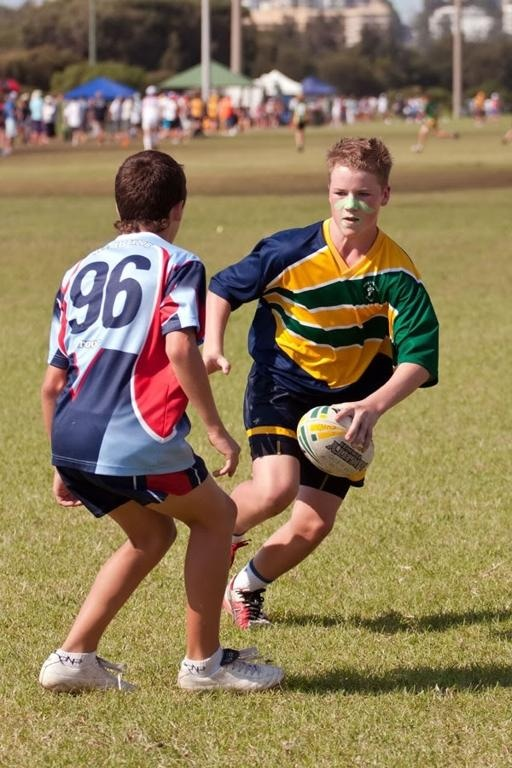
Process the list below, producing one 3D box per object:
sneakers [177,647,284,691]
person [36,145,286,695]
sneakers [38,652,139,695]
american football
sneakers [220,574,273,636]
[{"bbox_3d":[-0.061,0.744,2.373,0.322,0.108,0.109,-1,8,-16],"label":"sneakers"},{"bbox_3d":[-0.240,0.111,2.217,0.645,1.385,0.395,3,7,1],"label":"person"},{"bbox_3d":[-0.437,0.724,2.302,0.278,0.101,0.100,8,7,-27],"label":"sneakers"},{"bbox_3d":[0.289,0.189,2.639,0.276,0.182,0.184,11,18,15],"label":"american football"},{"bbox_3d":[-0.014,0.728,2.938,0.092,0.106,0.250,12,27,-38],"label":"sneakers"}]
